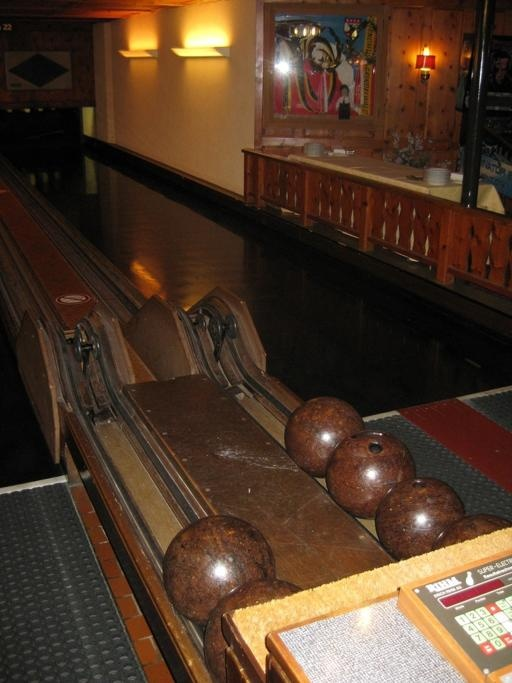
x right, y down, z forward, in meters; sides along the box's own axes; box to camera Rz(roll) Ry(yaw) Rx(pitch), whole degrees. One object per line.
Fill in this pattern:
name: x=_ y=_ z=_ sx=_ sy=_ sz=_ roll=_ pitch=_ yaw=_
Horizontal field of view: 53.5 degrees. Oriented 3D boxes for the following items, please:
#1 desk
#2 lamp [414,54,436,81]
desk: x=1.633 y=-1.683 z=6.494 sx=1.017 sy=0.554 sz=2.316 roll=-11 pitch=40 yaw=-30
lamp: x=3.189 y=-5.130 z=9.500 sx=0.432 sy=0.450 sz=0.164 roll=-3 pitch=21 yaw=-12
